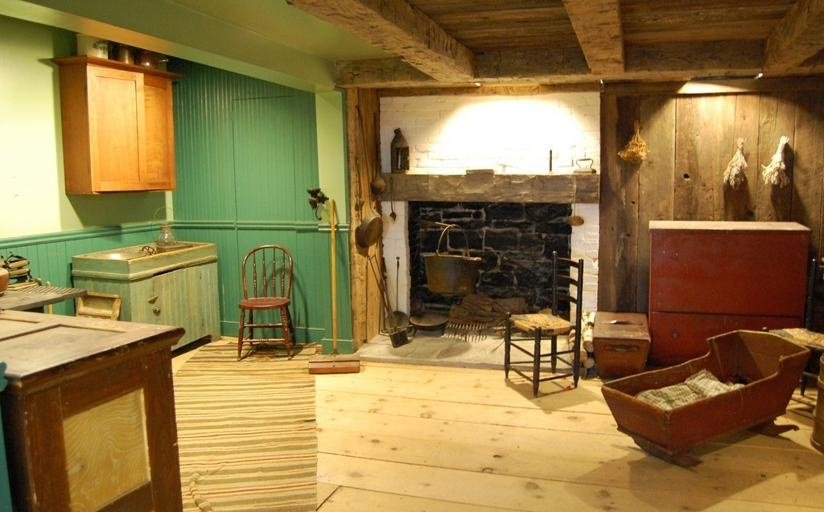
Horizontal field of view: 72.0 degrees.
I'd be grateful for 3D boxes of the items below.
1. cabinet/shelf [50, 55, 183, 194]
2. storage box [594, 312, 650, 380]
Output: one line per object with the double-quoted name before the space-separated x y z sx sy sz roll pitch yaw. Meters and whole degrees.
"cabinet/shelf" -2.924 -1.254 5.664 0.421 1.269 0.976 2 6 35
"storage box" 1.993 0.790 5.439 0.544 0.391 0.742 0 20 16
